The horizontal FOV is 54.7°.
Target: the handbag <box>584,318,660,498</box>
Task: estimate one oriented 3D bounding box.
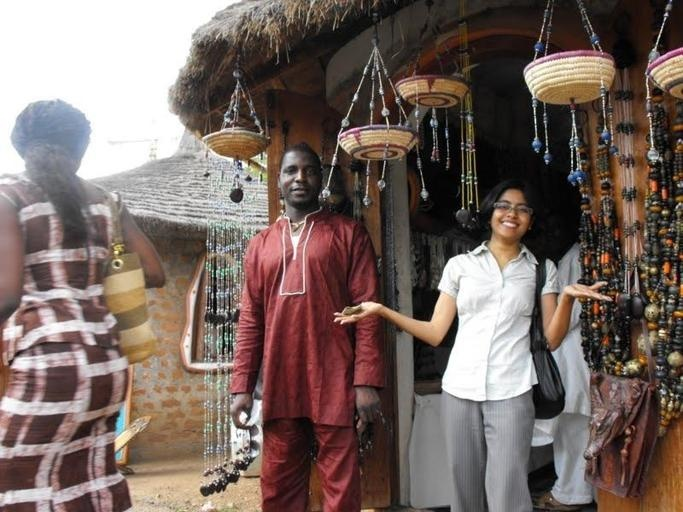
[{"bbox_3d":[1.480,0.933,3.479,0.371,0.626,0.175,-3,-3,20],"label":"handbag"}]

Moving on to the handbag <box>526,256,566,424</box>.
[{"bbox_3d":[1.077,0.441,3.526,0.144,0.857,0.160,-1,-3,-11],"label":"handbag"}]
